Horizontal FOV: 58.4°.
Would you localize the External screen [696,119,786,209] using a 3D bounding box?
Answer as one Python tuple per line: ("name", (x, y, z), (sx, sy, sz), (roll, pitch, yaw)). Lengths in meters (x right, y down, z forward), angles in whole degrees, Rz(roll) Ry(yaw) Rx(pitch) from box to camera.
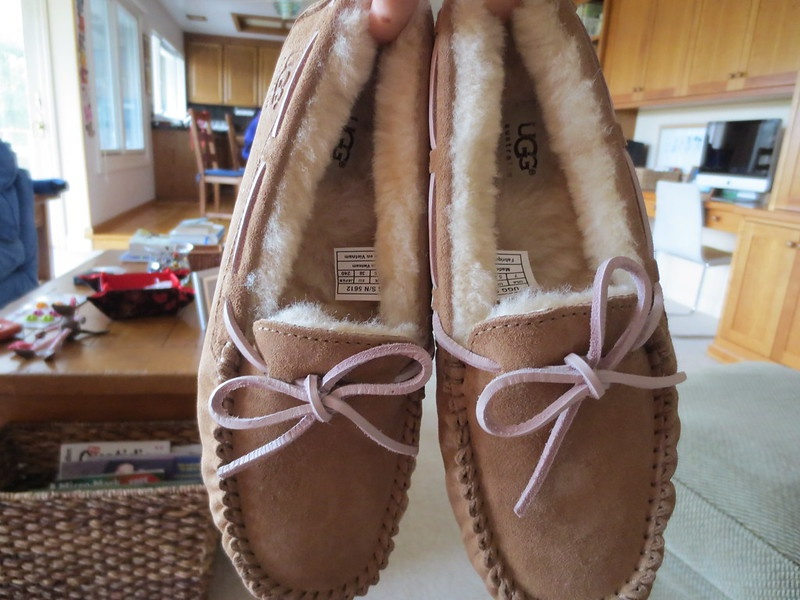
("External screen", (1.483, -0.588, 3.110), (0.125, 0.362, 0.392), (10, 12, -31))
